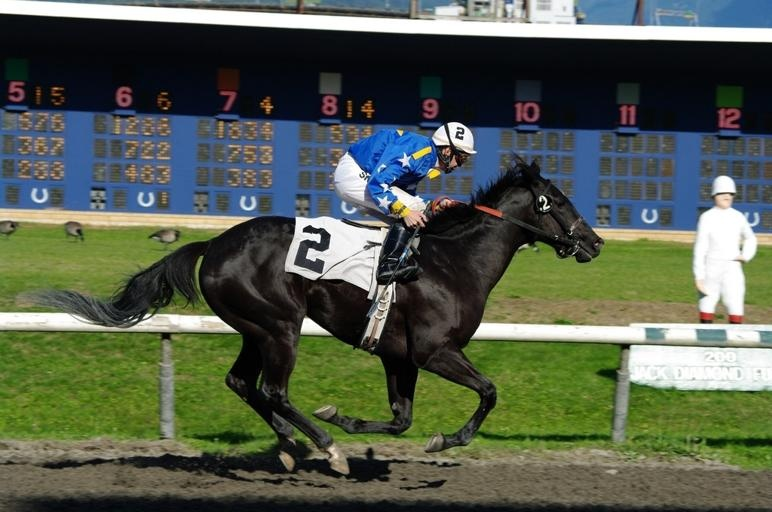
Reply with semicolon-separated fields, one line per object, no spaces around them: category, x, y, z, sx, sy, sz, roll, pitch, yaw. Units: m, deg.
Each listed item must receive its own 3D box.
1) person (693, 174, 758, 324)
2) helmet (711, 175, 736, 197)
person;4.878;-0.049;21.793;0.871;2.092;0.713;4;10;17
helmet;4.952;-1.006;21.957;0.474;0.244;0.309;-2;0;-1
